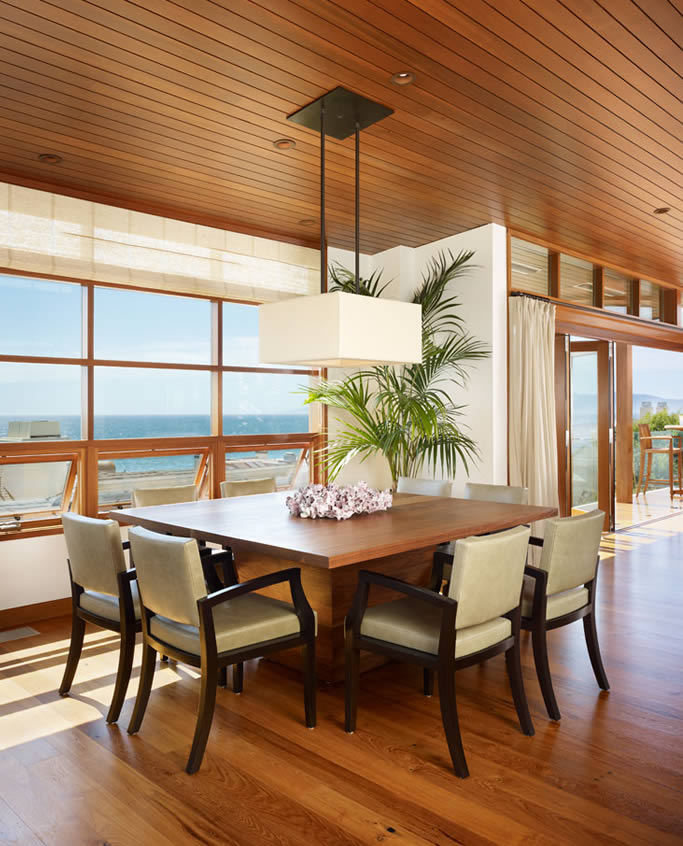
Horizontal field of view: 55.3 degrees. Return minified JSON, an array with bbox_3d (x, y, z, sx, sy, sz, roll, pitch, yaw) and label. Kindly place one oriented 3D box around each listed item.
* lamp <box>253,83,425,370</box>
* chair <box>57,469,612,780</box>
[{"bbox_3d":[-0.001,-0.905,3.034,0.631,1.090,0.642,-8,11,-44],"label":"lamp"},{"bbox_3d":[0.056,0.700,2.609,1.219,0.575,1.190,0,-3,-40],"label":"chair"}]
